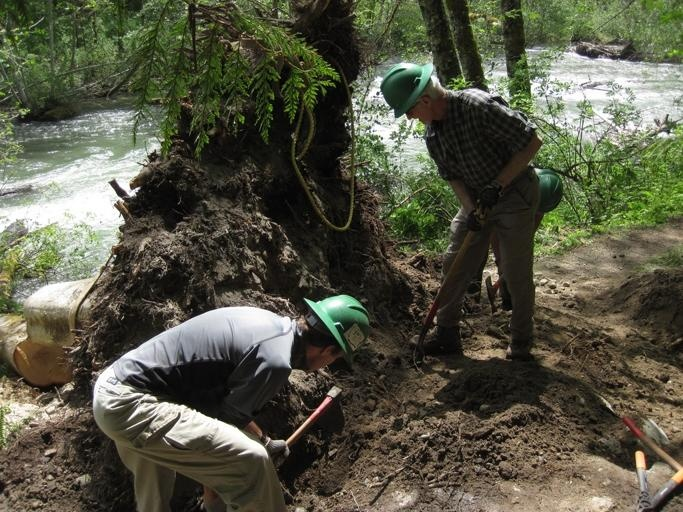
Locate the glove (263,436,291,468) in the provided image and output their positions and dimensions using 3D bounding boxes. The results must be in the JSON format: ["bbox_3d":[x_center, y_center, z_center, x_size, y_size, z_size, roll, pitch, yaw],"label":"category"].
[{"bbox_3d":[-0.559,1.735,5.419,0.186,0.273,0.124,10,30,11],"label":"glove"}]

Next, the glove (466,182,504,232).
[{"bbox_3d":[1.377,-0.478,5.945,0.136,0.419,0.293,31,15,-4],"label":"glove"}]

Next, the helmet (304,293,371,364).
[{"bbox_3d":[-0.007,0.544,5.257,0.322,0.630,0.433,-43,34,-12],"label":"helmet"}]

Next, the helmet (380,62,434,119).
[{"bbox_3d":[0.626,-1.597,5.930,0.483,0.504,0.281,0,22,9],"label":"helmet"}]
